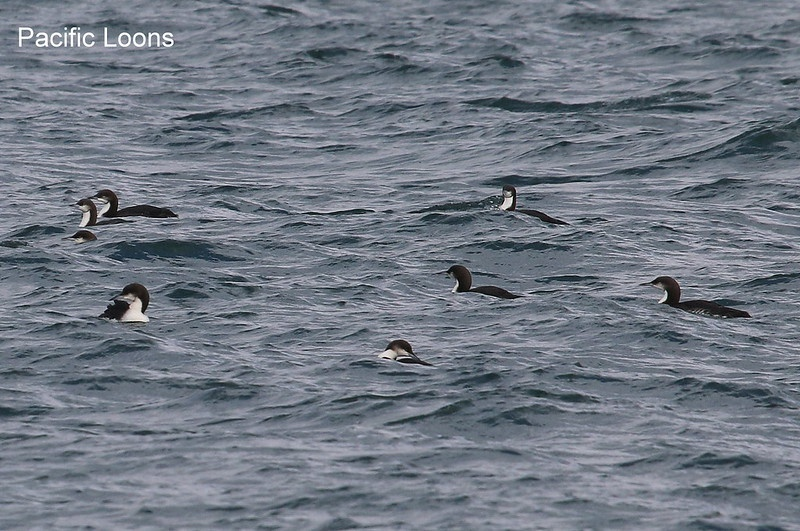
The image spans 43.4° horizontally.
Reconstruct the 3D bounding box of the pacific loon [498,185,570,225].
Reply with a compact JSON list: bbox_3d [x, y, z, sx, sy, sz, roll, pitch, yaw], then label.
[{"bbox_3d":[3.678,-1.511,25.889,0.769,0.644,2.248,-31,32,-28],"label":"pacific loon"}]

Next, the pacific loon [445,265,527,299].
[{"bbox_3d":[1.926,0.495,21.332,2.049,0.648,0.553,10,23,38],"label":"pacific loon"}]
